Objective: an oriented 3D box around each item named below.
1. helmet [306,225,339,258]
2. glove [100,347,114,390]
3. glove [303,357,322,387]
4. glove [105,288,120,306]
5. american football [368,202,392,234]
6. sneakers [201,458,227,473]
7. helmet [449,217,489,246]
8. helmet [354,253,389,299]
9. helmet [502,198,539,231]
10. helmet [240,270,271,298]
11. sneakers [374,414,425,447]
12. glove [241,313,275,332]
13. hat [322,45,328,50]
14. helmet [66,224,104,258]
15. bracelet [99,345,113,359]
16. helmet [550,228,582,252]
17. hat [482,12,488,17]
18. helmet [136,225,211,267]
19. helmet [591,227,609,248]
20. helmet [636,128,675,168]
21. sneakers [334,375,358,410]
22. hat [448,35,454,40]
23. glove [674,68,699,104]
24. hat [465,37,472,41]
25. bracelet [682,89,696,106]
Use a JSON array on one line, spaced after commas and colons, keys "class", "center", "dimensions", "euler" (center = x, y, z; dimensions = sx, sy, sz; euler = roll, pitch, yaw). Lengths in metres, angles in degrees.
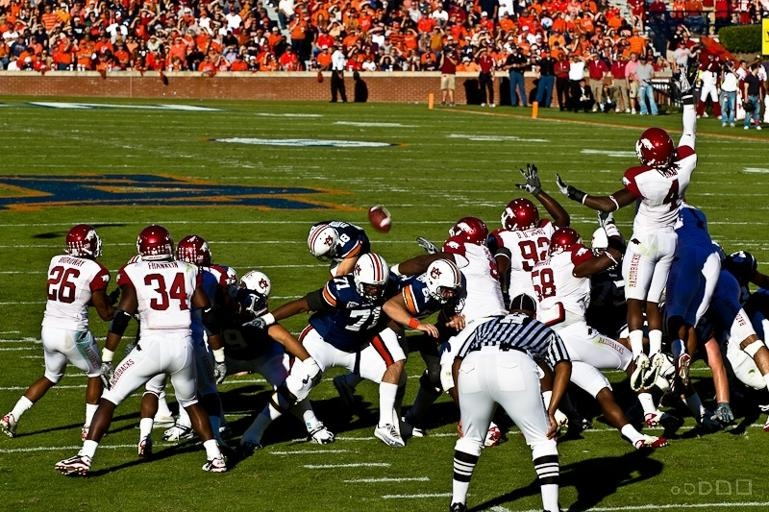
[{"class": "helmet", "center": [-0.693, -0.217, 14.867], "dimensions": [0.339, 0.365, 0.289], "euler": [12, 18, -20]}, {"class": "glove", "center": [-2.906, 1.163, 14.103], "dimensions": [0.115, 0.485, 0.169], "euler": [2, 0, 19]}, {"class": "glove", "center": [-0.764, 1.250, 14.631], "dimensions": [0.098, 0.303, 0.258], "euler": [2, 4, 43]}, {"class": "glove", "center": [-3.083, 0.472, 15.294], "dimensions": [0.150, 0.207, 0.050], "euler": [26, 22, 10]}, {"class": "american football", "center": [-0.072, -0.464, 16.014], "dimensions": [0.280, 0.205, 0.335], "euler": [39, 5, -23]}, {"class": "sneakers", "center": [-1.769, 2.191, 14.056], "dimensions": [0.269, 0.156, 0.185], "euler": [-1, 3, -3]}, {"class": "helmet", "center": [0.965, -0.305, 15.111], "dimensions": [0.379, 0.309, 0.274], "euler": [23, 10, 21]}, {"class": "helmet", "center": [-0.179, 0.193, 14.540], "dimensions": [0.367, 0.419, 0.474], "euler": [1, 25, -22]}, {"class": "helmet", "center": [1.566, -0.501, 15.680], "dimensions": [0.328, 0.345, 0.406], "euler": [-7, 15, -37]}, {"class": "helmet", "center": [-1.397, 0.301, 14.831], "dimensions": [0.332, 0.290, 0.245], "euler": [31, -6, -1]}, {"class": "sneakers", "center": [0.248, 1.957, 14.738], "dimensions": [0.658, 0.225, 0.302], "euler": [8, -34, 6]}, {"class": "glove", "center": [-1.331, 0.719, 14.526], "dimensions": [0.247, 0.160, 0.104], "euler": [-32, -14, -11]}, {"class": "hat", "center": [-2.046, -7.388, 47.448], "dimensions": [0.138, 0.197, 0.487], "euler": [-2, 3, -20]}, {"class": "helmet", "center": [-3.313, -0.157, 14.853], "dimensions": [0.352, 0.369, 0.340], "euler": [-2, 3, -19]}, {"class": "bracelet", "center": [-2.905, 1.027, 14.144], "dimensions": [0.109, 0.113, 0.105], "euler": [1, -3, 40]}, {"class": "helmet", "center": [2.064, -0.178, 15.267], "dimensions": [0.292, 0.241, 0.278], "euler": [-10, 0, -1]}, {"class": "hat", "center": [3.662, -8.847, 49.044], "dimensions": [0.077, 0.153, 0.221], "euler": [-33, -45, 29]}, {"class": "helmet", "center": [-2.233, -0.082, 14.323], "dimensions": [0.680, 0.331, 0.425], "euler": [15, 8, -40]}, {"class": "helmet", "center": [2.508, -0.204, 15.696], "dimensions": [0.175, 0.236, 0.206], "euler": [8, 0, -13]}, {"class": "helmet", "center": [3.244, -1.312, 16.053], "dimensions": [0.377, 0.459, 0.500], "euler": [-2, 26, -10]}, {"class": "sneakers", "center": [-0.412, 1.537, 15.455], "dimensions": [0.193, 0.429, 0.260], "euler": [-11, 2, 5]}, {"class": "hat", "center": [2.356, -7.716, 47.381], "dimensions": [0.187, 0.221, 0.365], "euler": [-1, 3, 2]}, {"class": "glove", "center": [3.854, -2.204, 17.241], "dimensions": [0.170, 0.442, 0.442], "euler": [-19, -39, 16]}, {"class": "hat", "center": [2.990, -7.710, 47.415], "dimensions": [0.126, 0.185, 0.320], "euler": [-3, 4, -32]}, {"class": "bracelet", "center": [3.899, -2.026, 17.206], "dimensions": [0.191, 0.200, 0.149], "euler": [2, -6, 17]}]
